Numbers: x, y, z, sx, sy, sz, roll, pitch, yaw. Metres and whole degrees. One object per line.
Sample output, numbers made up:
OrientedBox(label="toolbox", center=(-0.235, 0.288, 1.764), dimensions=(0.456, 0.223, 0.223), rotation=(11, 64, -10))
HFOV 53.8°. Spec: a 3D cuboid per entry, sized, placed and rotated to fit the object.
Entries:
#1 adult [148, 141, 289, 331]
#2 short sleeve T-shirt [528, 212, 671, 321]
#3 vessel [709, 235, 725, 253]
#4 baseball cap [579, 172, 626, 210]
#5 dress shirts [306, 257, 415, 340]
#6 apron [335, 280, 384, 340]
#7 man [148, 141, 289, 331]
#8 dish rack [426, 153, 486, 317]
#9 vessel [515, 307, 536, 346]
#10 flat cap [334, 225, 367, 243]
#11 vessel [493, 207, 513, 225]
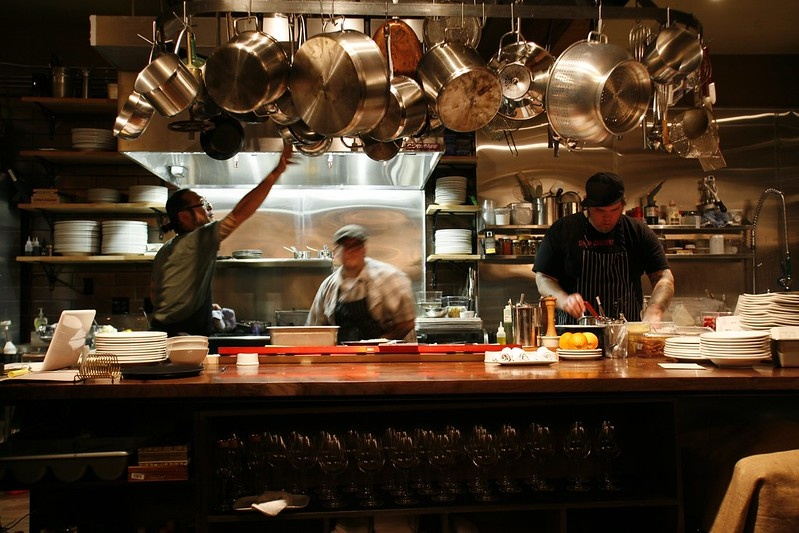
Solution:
OrientedBox(label="adult", center=(-1.522, -0.236, 6.396), dimensions=(1.332, 1.926, 0.722), rotation=(6, 8, 35))
OrientedBox(label="short sleeve T-shirt", center=(1.532, -0.014, 5.598), dimensions=(0.984, 0.800, 0.393), rotation=(3, 6, 38))
OrientedBox(label="vessel", center=(2.914, -0.207, 7.209), dimensions=(0.155, 0.156, 0.149), rotation=(3, -2, 7))
OrientedBox(label="baseball cap", center=(1.386, -0.511, 5.318), dimensions=(0.295, 0.199, 0.386), rotation=(-1, 2, -13))
OrientedBox(label="dress shirts", center=(-0.309, 0.274, 5.941), dimensions=(0.906, 0.622, 0.454), rotation=(0, 7, 18))
OrientedBox(label="apron", center=(-0.317, 0.320, 5.784), dimensions=(0.423, 0.507, 0.299), rotation=(-3, 1, 16))
OrientedBox(label="man", center=(-1.522, -0.236, 6.396), dimensions=(1.332, 1.926, 0.722), rotation=(6, 8, 35))
OrientedBox(label="dish rack", center=(0.487, -0.186, 7.076), dimensions=(0.572, 1.490, 0.480), rotation=(0, -1, -7))
OrientedBox(label="vessel", center=(0.791, 0.366, 4.915), dimensions=(0.149, 0.256, 0.176), rotation=(1, 1, 8))
OrientedBox(label="flat cap", center=(-0.368, -0.240, 5.806), dimensions=(0.217, 0.101, 0.293), rotation=(-1, 1, -2))
OrientedBox(label="vessel", center=(0.907, -0.436, 6.849), dimensions=(0.156, 0.137, 0.149), rotation=(1, 3, 6))
